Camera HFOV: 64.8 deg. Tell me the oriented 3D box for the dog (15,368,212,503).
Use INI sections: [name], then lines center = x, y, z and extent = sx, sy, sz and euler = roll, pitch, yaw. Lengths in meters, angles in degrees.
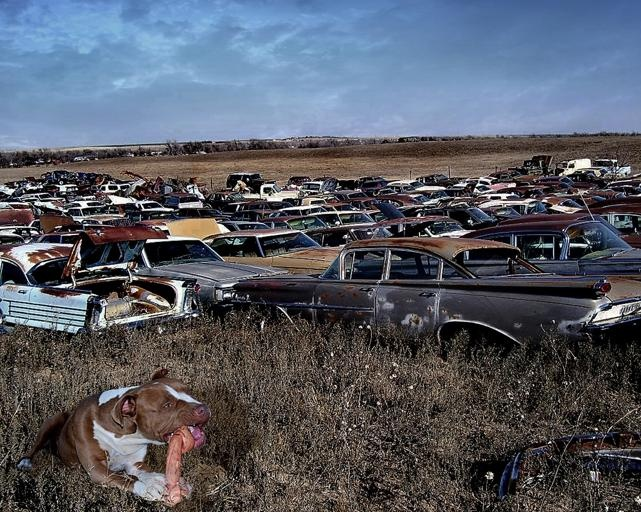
[dog]
center = -1.596, 1.247, 3.889
extent = 1.693, 0.544, 0.712
euler = 5, 4, 30
